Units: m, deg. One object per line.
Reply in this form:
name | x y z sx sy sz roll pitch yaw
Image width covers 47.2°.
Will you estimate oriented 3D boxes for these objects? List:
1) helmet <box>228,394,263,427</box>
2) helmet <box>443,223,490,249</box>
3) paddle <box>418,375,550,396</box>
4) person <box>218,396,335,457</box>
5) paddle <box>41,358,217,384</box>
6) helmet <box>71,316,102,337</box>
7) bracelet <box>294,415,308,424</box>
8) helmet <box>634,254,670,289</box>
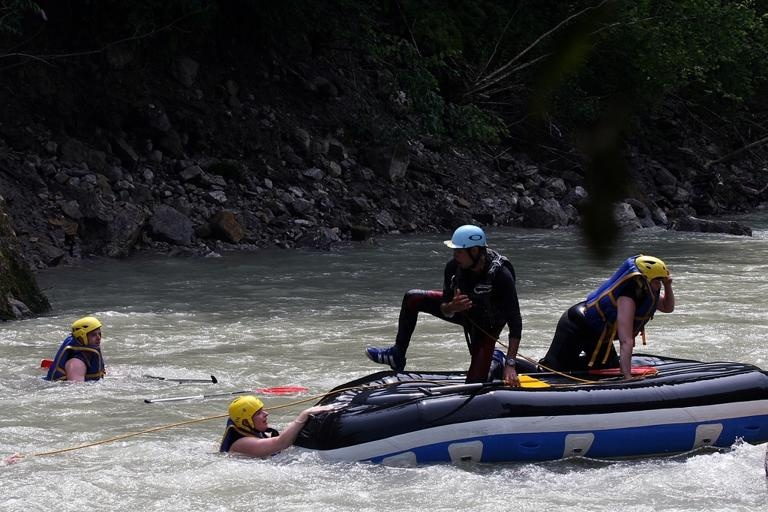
helmet | -1.780 2.003 11.438 0.550 0.363 0.353 -17 -1 2
helmet | 1.122 -0.261 11.824 0.549 0.177 0.327 2 2 -5
paddle | 1.361 1.728 11.616 1.925 0.104 0.464 -1 5 -10
person | -1.388 2.166 11.548 1.581 0.494 0.906 -10 16 -24
paddle | -4.016 1.802 13.667 2.347 0.255 0.210 3 41 8
helmet | -4.501 1.050 13.088 0.496 0.265 0.314 10 -6 1
bracelet | -1.030 2.101 11.320 0.114 0.123 0.136 20 10 -33
helmet | 3.631 0.196 11.859 0.502 0.350 0.279 6 14 11
